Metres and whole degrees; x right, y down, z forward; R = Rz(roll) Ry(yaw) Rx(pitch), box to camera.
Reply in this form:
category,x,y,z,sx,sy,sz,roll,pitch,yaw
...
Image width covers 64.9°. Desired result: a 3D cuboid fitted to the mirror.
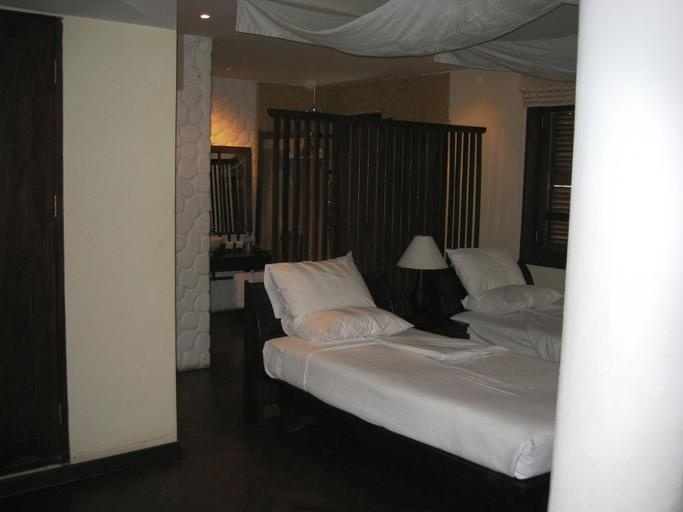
category,x,y,z,sx,sy,sz,roll,pitch,yaw
mirror,-1.430,-0.842,7.012,0.618,1.162,0.302,-3,9,-27
